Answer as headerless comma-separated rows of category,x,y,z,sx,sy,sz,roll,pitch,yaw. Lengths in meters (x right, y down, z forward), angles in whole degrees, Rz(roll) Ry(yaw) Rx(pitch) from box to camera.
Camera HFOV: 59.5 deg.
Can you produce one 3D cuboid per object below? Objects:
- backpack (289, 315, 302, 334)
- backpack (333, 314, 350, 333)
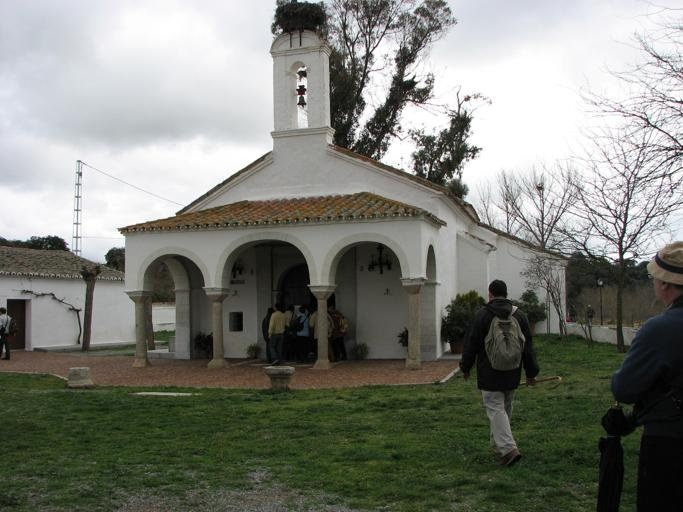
backpack,-1.424,2.151,18.682,0.347,0.517,0.177,17,-9,37
backpack,0.001,2.060,18.397,0.538,0.611,0.450,0,1,5
